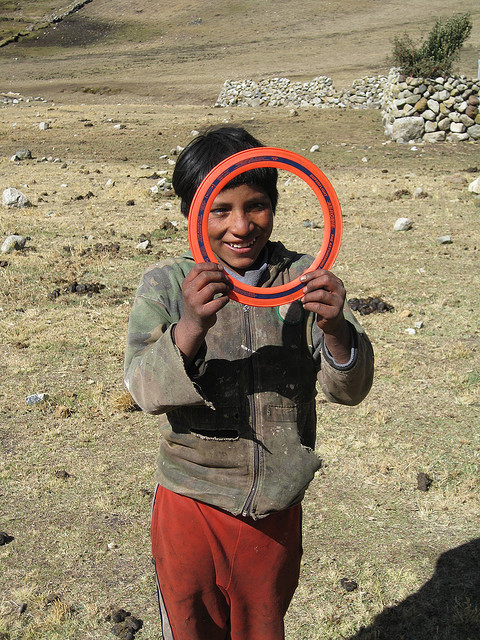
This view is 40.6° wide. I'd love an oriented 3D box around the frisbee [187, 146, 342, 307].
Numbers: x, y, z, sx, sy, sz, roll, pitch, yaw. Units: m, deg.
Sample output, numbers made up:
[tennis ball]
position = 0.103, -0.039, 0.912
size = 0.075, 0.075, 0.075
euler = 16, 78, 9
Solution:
[frisbee]
position = 0.101, -0.295, 2.146
size = 0.524, 0.531, 0.387
euler = -11, 27, -13
